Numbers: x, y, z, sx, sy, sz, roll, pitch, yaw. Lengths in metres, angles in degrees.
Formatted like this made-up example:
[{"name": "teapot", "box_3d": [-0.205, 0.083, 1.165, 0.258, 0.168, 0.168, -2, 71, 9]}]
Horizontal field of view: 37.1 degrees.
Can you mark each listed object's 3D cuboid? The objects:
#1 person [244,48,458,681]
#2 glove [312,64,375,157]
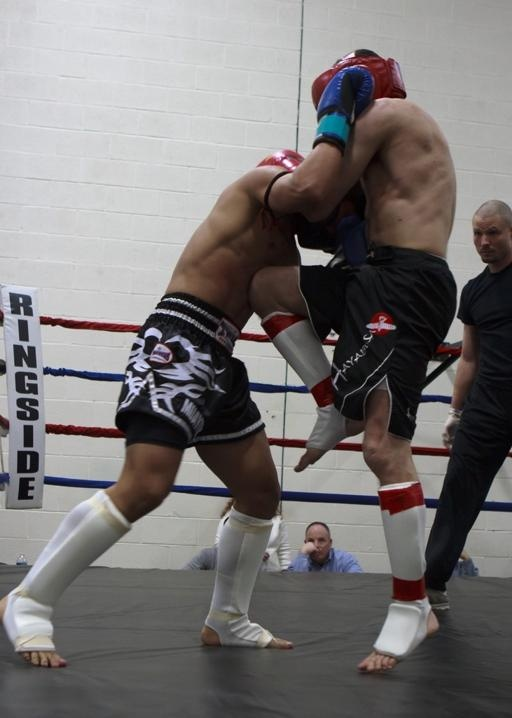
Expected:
[{"name": "person", "box_3d": [0.230, -0.033, 1.686, 0.471, 1.365, 0.283, 6, -9, -11]}, {"name": "glove", "box_3d": [0.197, -0.544, 1.654, 0.126, 0.222, 0.100, 3, -8, 6]}]
